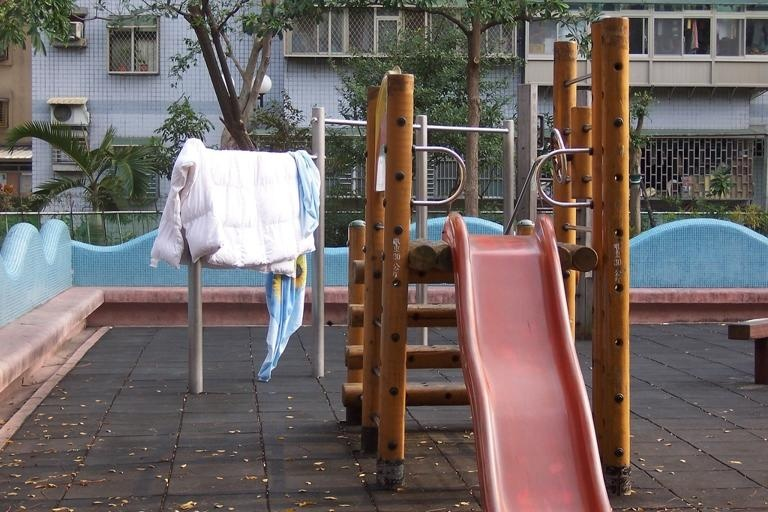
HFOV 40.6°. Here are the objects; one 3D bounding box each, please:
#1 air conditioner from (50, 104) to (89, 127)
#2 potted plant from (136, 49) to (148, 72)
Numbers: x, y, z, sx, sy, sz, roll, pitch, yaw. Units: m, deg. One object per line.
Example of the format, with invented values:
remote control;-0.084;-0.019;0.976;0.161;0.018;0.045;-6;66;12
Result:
air conditioner;-7.761;-3.477;25.686;0.921;0.568;0.415;-4;14;-16
potted plant;-6.046;-4.923;25.929;0.373;0.509;0.157;0;13;-1
